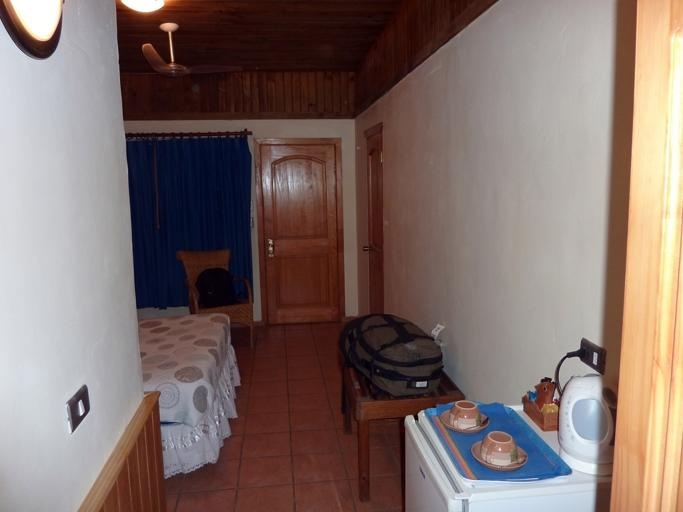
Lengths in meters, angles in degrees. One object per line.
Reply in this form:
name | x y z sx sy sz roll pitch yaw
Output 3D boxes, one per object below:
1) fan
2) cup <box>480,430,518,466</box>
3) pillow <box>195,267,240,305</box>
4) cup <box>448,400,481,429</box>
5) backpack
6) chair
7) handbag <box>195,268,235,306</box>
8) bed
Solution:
fan | -1.276 -1.652 4.262 0.634 0.389 1.078 -4 11 -21
cup | 0.553 0.666 1.802 0.145 0.103 0.110 -1 3 -38
pillow | -1.353 0.277 5.557 0.347 0.157 0.461 2 29 -8
cup | 0.474 0.590 1.993 0.070 0.071 0.100 9 16 24
backpack | 0.299 0.616 3.300 0.564 0.353 0.893 1 3 -15
chair | -1.349 0.457 5.575 0.641 1.073 0.745 -5 2 -27
handbag | -1.315 0.336 5.448 0.301 0.435 0.144 2 -22 -23
bed | -1.210 0.859 3.823 0.962 0.492 1.702 0 10 -5
